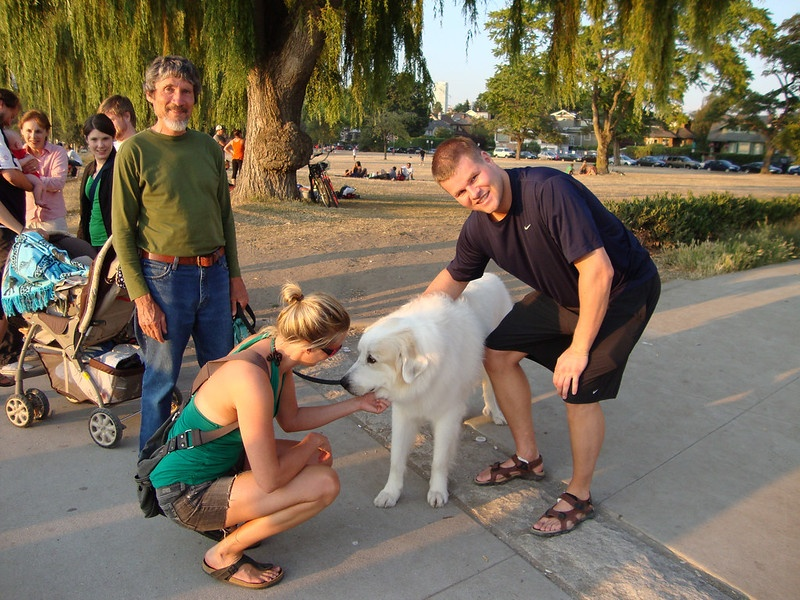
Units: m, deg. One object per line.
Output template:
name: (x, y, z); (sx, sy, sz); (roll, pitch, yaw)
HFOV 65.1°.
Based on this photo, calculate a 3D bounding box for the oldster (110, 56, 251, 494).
oldster: (-1.726, -0.182, 5.066); (1.036, 3.403, 0.690); (-9, 21, -35)

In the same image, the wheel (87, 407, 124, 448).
wheel: (-2.408, 1.060, 5.126); (0.234, 0.224, 0.064); (-37, -7, 28)

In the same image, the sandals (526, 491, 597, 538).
sandals: (1.193, 1.498, 4.500); (0.532, 0.234, 0.232); (-8, 7, -30)

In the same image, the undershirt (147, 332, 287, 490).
undershirt: (-1.273, 0.704, 4.305); (0.760, 1.033, 0.876); (-8, 23, -42)

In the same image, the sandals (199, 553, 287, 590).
sandals: (-1.010, 1.765, 4.088); (0.413, 0.138, 0.237); (7, 12, 17)

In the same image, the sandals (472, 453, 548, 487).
sandals: (0.853, 1.327, 4.870); (0.536, 0.238, 0.223); (0, 5, -2)

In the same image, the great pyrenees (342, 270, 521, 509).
great pyrenees: (0.488, 0.670, 5.499); (0.739, 1.635, 2.511); (8, 20, 33)
